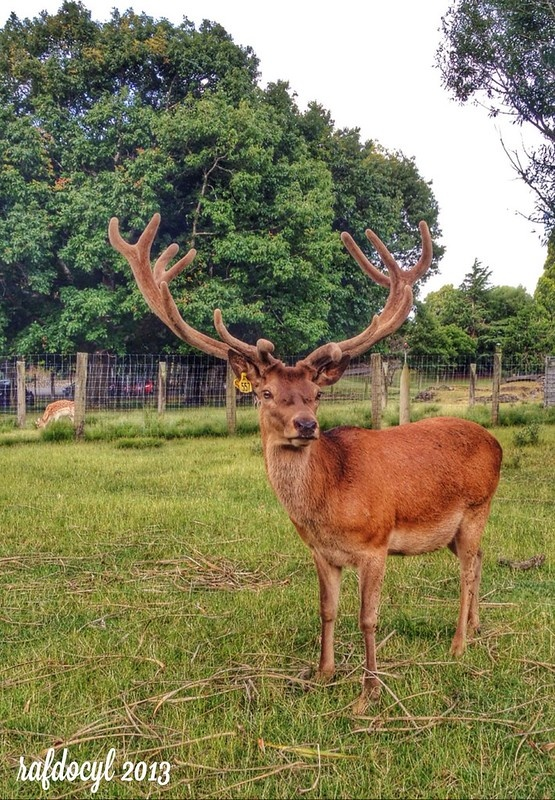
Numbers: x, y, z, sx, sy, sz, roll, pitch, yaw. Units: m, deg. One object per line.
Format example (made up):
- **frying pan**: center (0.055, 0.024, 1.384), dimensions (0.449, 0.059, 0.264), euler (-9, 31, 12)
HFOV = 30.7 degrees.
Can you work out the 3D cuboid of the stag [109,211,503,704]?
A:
- **stag**: center (0.304, 0.296, 5.905), dimensions (2.030, 2.732, 1.385), euler (1, 2, 6)
